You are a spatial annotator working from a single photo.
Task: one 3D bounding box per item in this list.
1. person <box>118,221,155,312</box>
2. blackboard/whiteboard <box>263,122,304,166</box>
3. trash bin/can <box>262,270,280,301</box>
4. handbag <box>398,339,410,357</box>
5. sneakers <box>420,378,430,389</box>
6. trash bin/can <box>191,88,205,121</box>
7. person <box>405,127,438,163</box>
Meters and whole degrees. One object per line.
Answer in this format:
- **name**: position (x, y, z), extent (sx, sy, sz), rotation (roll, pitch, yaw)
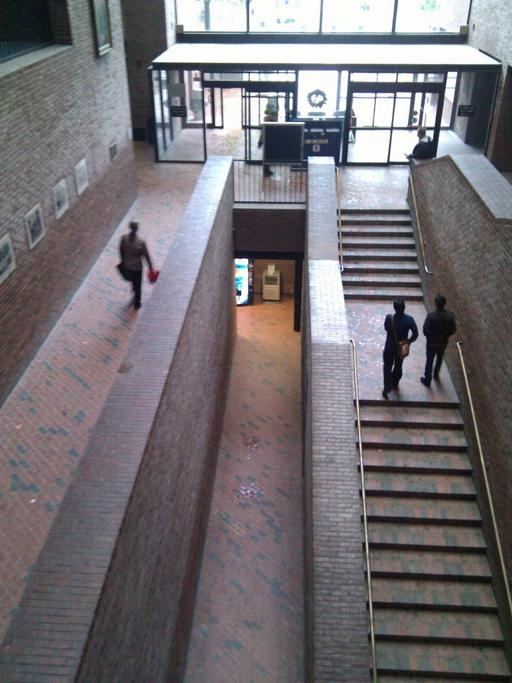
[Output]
- **person**: position (-1.888, -1.183, 7.028), extent (0.531, 1.509, 0.642), rotation (-6, 26, -17)
- **blackboard/whiteboard**: position (0.766, -5.685, 12.768), extent (1.322, 1.416, 0.594), rotation (-1, 47, 1)
- **trash bin/can**: position (0.594, -2.153, 17.450), extent (0.731, 1.138, 0.423), rotation (3, 24, 2)
- **handbag**: position (2.005, 0.107, 6.130), extent (0.140, 0.217, 0.056), rotation (-15, 24, -25)
- **sneakers**: position (2.641, 0.642, 7.020), extent (0.068, 0.147, 0.175), rotation (-8, 56, -1)
- **trash bin/can**: position (-2.199, -8.739, 16.526), extent (0.385, 1.079, 0.903), rotation (1, 26, -1)
- **person**: position (4.240, -5.083, 11.468), extent (0.557, 0.740, 1.831), rotation (12, 29, 19)
